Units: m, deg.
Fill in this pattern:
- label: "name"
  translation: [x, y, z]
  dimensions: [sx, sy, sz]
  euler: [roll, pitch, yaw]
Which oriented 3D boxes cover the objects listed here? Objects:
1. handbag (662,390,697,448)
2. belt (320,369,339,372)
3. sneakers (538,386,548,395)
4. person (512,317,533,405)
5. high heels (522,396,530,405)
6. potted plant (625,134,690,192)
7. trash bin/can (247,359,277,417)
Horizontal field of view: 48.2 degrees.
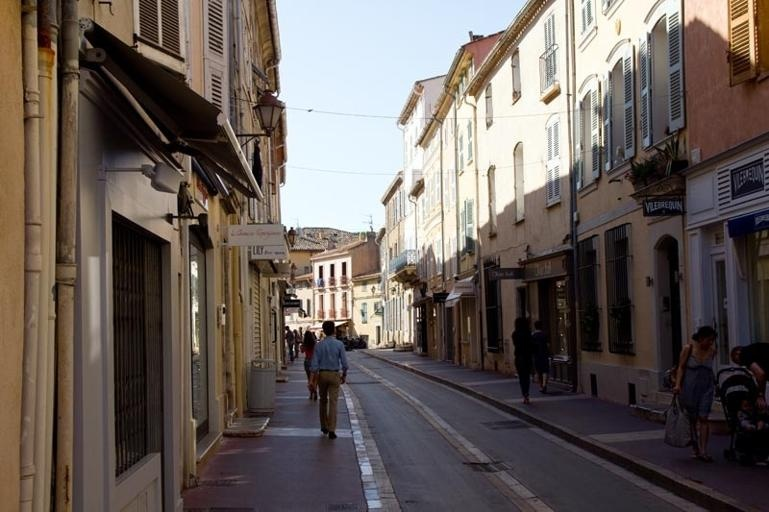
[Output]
- label: "handbag"
  translation: [4.306, 2.404, 12.648]
  dimensions: [0.369, 0.741, 0.303]
  euler: [-5, -9, 22]
- label: "belt"
  translation: [-0.973, 2.137, 16.141]
  dimensions: [0.392, 0.078, 0.167]
  euler: [7, -15, -39]
- label: "sneakers"
  translation: [4.235, 3.536, 22.793]
  dimensions: [0.111, 0.169, 0.387]
  euler: [-3, -17, 5]
- label: "person"
  translation: [3.356, 2.482, 20.770]
  dimensions: [0.469, 2.134, 1.474]
  euler: [-3, -9, 8]
- label: "high heels"
  translation: [3.359, 3.370, 20.109]
  dimensions: [0.111, 0.224, 0.200]
  euler: [3, -12, -20]
- label: "potted plant"
  translation: [5.564, -1.934, 17.633]
  dimensions: [0.481, 0.604, 1.272]
  euler: [-9, -6, -10]
- label: "trash bin/can"
  translation: [-2.630, 2.878, 18.719]
  dimensions: [0.550, 1.026, 0.645]
  euler: [0, -9, -12]
